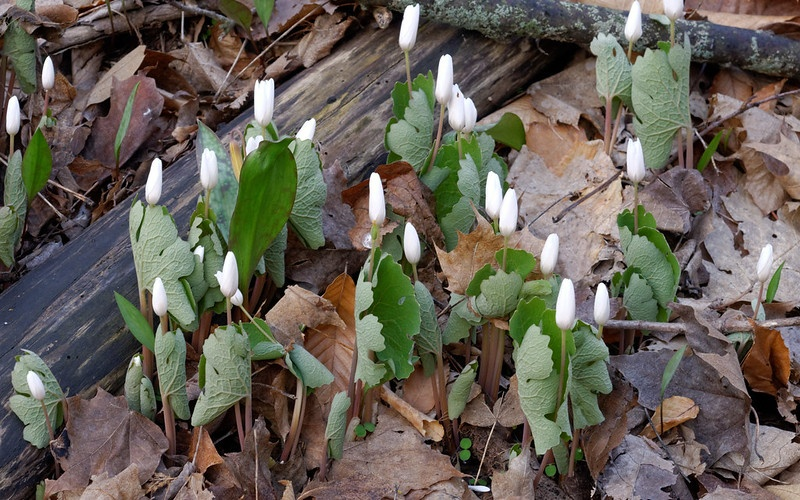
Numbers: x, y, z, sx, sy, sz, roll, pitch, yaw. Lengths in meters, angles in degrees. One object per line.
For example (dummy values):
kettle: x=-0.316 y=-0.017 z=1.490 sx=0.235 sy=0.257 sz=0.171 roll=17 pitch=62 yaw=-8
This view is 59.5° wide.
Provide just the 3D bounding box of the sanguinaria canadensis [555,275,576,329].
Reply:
sanguinaria canadensis: x=0.680 y=0.227 z=2.849 sx=0.080 sy=0.246 sz=0.104 roll=9 pitch=26 yaw=15

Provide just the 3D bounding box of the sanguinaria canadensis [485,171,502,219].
sanguinaria canadensis: x=0.412 y=-0.234 z=3.047 sx=0.069 sy=0.206 sz=0.102 roll=5 pitch=26 yaw=7

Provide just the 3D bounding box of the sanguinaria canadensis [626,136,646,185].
sanguinaria canadensis: x=1.110 y=-0.420 z=3.283 sx=0.086 sy=0.202 sz=0.174 roll=10 pitch=28 yaw=16
